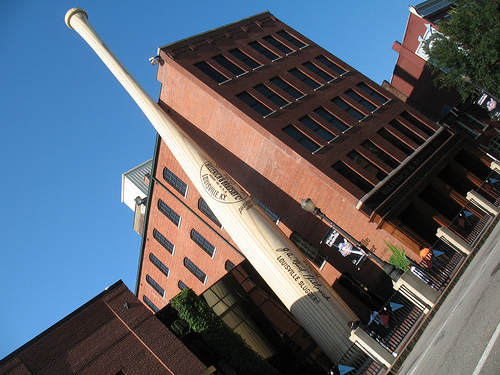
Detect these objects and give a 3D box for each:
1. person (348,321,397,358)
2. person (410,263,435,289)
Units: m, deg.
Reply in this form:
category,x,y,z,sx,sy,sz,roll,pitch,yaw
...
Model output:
category,x,y,z,sx,sy,sz,roll,pitch,yaw
person,8.150,10.562,33.124,1.542,2.830,0.862,20,-72,-44
person,12.072,6.260,34.133,1.090,2.022,0.274,-22,-25,-42
